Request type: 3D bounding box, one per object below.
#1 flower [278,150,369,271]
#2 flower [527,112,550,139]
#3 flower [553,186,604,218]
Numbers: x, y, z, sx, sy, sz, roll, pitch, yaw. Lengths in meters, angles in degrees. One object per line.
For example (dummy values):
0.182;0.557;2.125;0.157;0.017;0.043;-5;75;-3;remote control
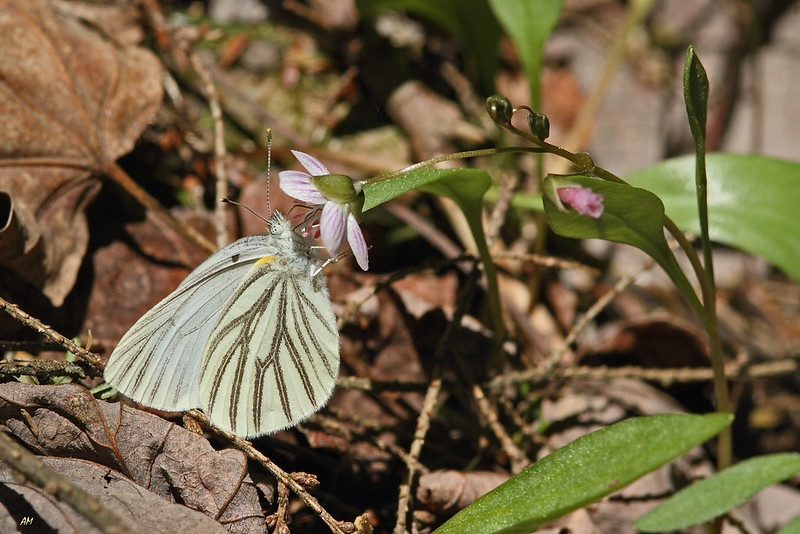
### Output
-0.255;-0.163;2.931;0.269;0.328;0.175;-4;32;-2;flower
0.460;-0.472;2.858;0.062;0.120;0.148;3;32;10;flower
0.576;-0.212;2.784;0.134;0.090;0.048;18;2;-29;flower
